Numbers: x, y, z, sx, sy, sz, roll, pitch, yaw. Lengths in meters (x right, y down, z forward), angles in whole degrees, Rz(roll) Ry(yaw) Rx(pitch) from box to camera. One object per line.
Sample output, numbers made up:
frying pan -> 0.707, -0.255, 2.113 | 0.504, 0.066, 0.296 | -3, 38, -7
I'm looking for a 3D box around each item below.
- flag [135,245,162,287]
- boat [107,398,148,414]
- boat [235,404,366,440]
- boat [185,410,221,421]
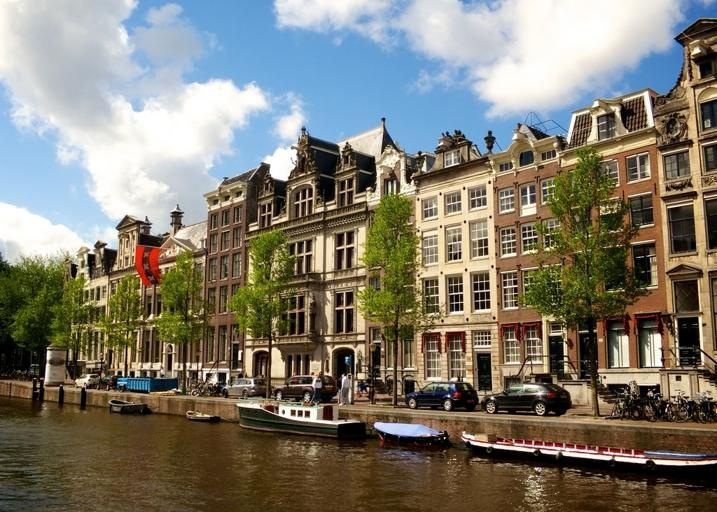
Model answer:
flag -> -25.315, 1.027, 93.141 | 0.243, 4.734, 3.493 | 2, 4, 27
boat -> -19.958, 13.114, 66.403 | 3.734, 1.178, 1.313 | -6, -18, 21
boat -> -4.314, 11.087, 51.970 | 10.582, 2.336, 2.968 | -6, -16, 33
boat -> -12.345, 12.559, 59.641 | 3.499, 0.640, 1.020 | -2, -6, 32
